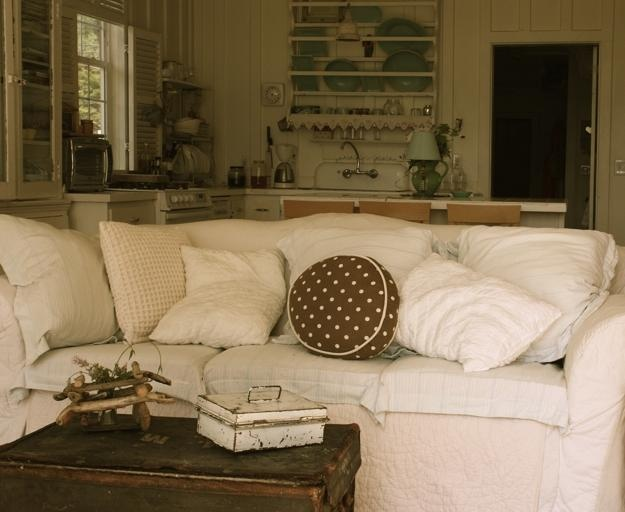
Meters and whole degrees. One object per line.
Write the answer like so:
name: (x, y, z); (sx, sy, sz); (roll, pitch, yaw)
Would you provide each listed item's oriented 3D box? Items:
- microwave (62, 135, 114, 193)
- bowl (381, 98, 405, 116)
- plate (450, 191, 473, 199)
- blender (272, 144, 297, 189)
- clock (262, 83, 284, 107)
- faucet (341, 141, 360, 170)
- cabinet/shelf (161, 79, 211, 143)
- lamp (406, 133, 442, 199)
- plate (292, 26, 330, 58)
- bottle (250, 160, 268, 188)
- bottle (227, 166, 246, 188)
microwave: (-1.603, -0.648, 4.220); (0.222, 0.368, 0.404); (10, 11, 27)
bowl: (0.870, -1.598, 6.431); (0.204, 0.219, 0.113); (0, -6, -5)
plate: (1.235, -0.509, 4.978); (0.155, 0.061, 0.272); (3, 7, 11)
blender: (-0.299, -0.994, 6.578); (0.252, 0.478, 0.527); (1, 7, -4)
clock: (-0.431, -1.800, 6.725); (0.244, 0.258, 0.094); (1, 10, 17)
faucet: (0.427, -1.102, 6.602); (0.225, 0.337, 0.172); (2, 7, 1)
cabinet/shelf: (-1.257, -1.464, 6.028); (0.575, 0.594, 0.187); (15, 31, 21)
lamp: (1.004, -0.807, 5.253); (0.304, 0.612, 0.308); (5, 5, 40)
plate: (-0.004, -2.337, 6.594); (0.375, 0.326, 0.317); (0, 1, 11)
bottle: (-0.580, -0.906, 6.606); (0.196, 0.302, 0.359); (1, 7, -6)
bottle: (-0.800, -0.843, 6.383); (0.178, 0.225, 0.342); (0, 7, -11)
